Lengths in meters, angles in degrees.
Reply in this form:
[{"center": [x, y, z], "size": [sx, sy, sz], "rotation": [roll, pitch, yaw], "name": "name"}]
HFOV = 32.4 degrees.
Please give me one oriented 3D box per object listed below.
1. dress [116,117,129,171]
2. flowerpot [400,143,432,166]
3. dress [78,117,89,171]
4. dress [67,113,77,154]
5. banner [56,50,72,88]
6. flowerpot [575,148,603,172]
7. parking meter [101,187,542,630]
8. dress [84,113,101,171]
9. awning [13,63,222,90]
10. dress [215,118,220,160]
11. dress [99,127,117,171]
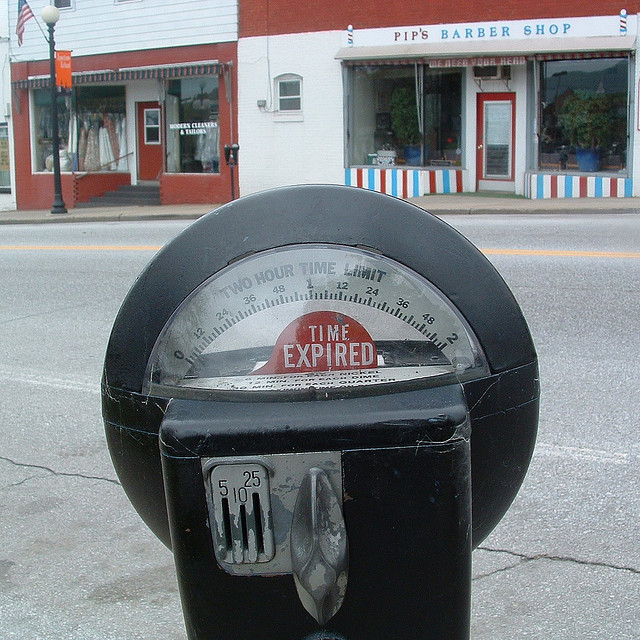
[{"center": [-3.982, -3.537, 22.271], "size": [0.215, 1.062, 0.192], "rotation": [-2, 8, -5], "name": "dress"}, {"center": [1.555, -2.675, 17.879], "size": [0.541, 0.354, 0.147], "rotation": [5, 10, 31], "name": "flowerpot"}, {"center": [-4.733, -3.495, 22.122], "size": [0.227, 0.987, 0.202], "rotation": [-1, 8, 1], "name": "dress"}, {"center": [-4.960, -3.731, 22.118], "size": [0.202, 0.796, 0.201], "rotation": [-1, 8, 0], "name": "dress"}, {"center": [-4.353, -4.258, 18.733], "size": [0.247, 0.590, 0.538], "rotation": [-4, 10, -14], "name": "banner"}, {"center": [3.890, -2.312, 15.930], "size": [0.237, 0.386, 0.372], "rotation": [2, 7, 14], "name": "flowerpot"}, {"center": [-0.018, 0.156, 2.112], "size": [0.863, 0.793, 0.465], "rotation": [1, 9, 13], "name": "parking meter"}, {"center": [-4.531, -3.582, 22.026], "size": [0.314, 0.133, 1.064], "rotation": [-9, -33, -20], "name": "dress"}, {"center": [-3.790, -4.550, 20.621], "size": [5.458, 0.267, 0.507], "rotation": [9, 15, 42], "name": "awning"}, {"center": [-1.815, -3.193, 19.624], "size": [0.039, 0.684, 0.273], "rotation": [-4, 9, -21], "name": "dress"}, {"center": [-4.262, -3.448, 22.228], "size": [0.335, 0.841, 0.189], "rotation": [-4, 9, -18], "name": "dress"}]
